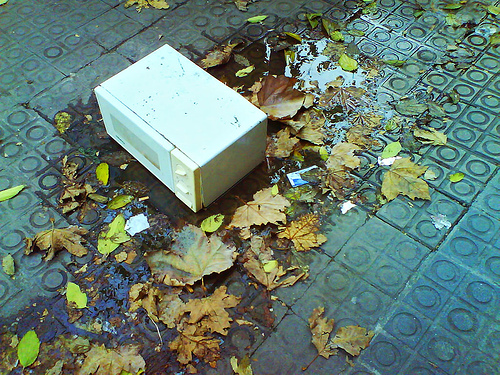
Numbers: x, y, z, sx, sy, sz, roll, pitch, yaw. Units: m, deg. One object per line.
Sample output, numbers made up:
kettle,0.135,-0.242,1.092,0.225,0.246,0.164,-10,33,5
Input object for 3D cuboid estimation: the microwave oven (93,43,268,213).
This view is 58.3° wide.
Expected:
microwave oven,-0.382,-0.354,2.547,0.630,0.429,0.935,-43,80,-14
